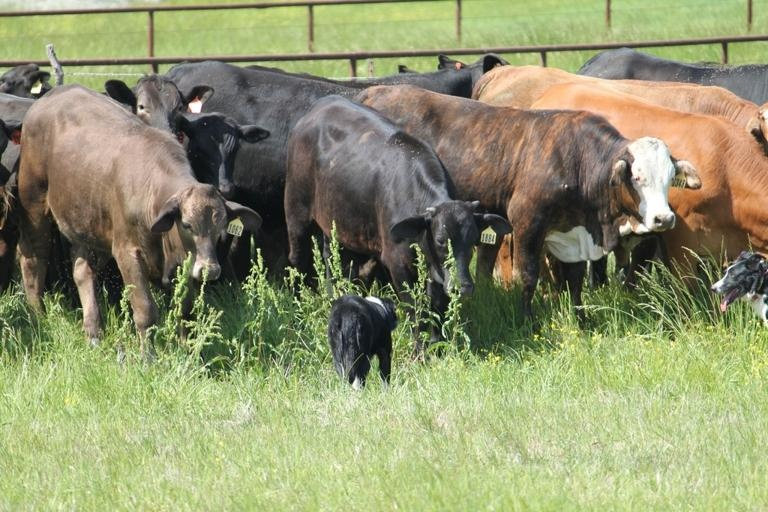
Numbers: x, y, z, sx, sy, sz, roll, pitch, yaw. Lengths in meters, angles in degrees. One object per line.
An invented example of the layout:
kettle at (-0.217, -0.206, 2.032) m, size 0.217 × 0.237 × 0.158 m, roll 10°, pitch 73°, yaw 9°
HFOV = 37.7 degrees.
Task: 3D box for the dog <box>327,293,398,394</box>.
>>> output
dog at (-0.169, 0.757, 10.271) m, size 0.664 × 0.806 × 0.337 m, roll -9°, pitch 11°, yaw -42°
